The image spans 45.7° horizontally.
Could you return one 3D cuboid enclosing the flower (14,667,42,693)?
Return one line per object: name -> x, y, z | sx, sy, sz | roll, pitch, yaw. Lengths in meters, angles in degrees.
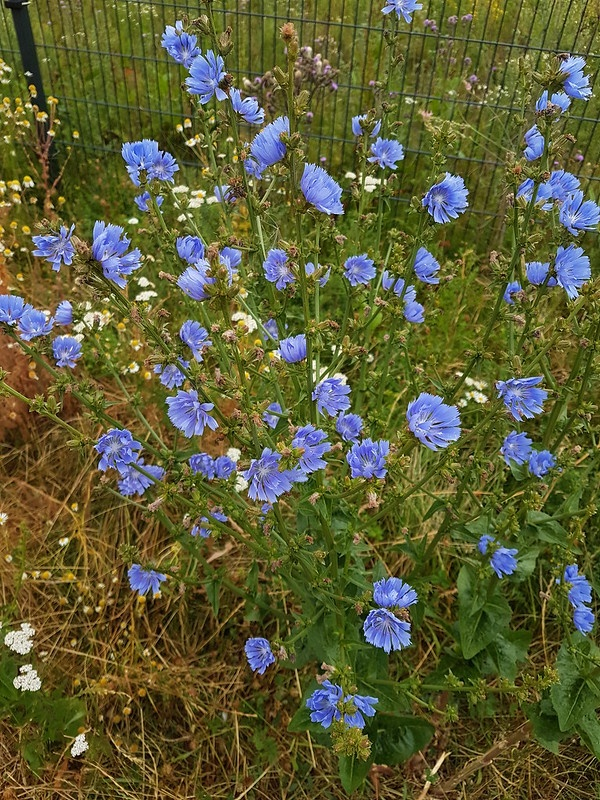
flower -> -0.916, 0.946, 2.419 | 0.102, 0.128, 0.034 | 30, 77, -4
